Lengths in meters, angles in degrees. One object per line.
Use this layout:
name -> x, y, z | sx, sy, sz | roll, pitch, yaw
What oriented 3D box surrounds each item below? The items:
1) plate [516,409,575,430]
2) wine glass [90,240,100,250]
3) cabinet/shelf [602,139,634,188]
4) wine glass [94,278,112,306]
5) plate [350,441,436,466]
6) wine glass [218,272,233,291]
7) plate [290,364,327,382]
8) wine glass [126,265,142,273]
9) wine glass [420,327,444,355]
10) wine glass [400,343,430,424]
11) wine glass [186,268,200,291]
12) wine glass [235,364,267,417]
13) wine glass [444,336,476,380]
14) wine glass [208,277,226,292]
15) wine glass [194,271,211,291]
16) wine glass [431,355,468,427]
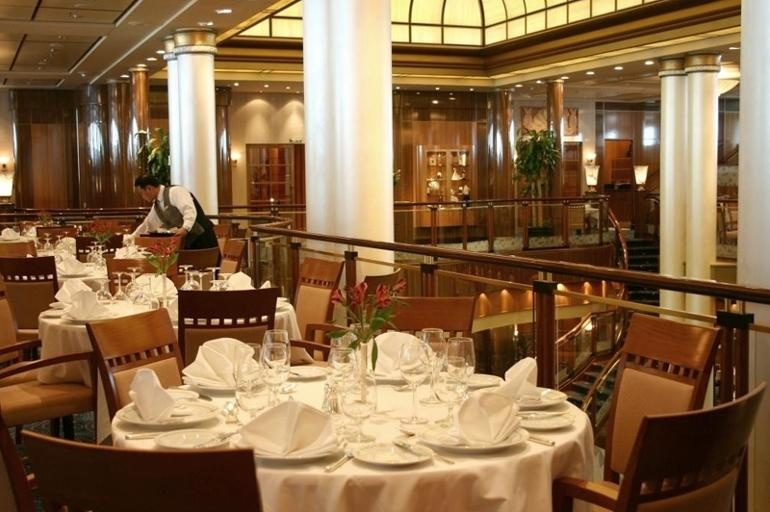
plate -> 0.655, 0.666, 2.469 | 0.254, 0.033, 0.142 | -1, 8, -10
wine glass -> -3.302, -0.105, 6.989 | 0.105, 0.133, 0.103 | 0, -4, -36
cabinet/shelf -> 8.538, -3.400, 22.589 | 1.372, 1.645, 0.586 | -2, 8, -18
wine glass -> -2.255, 0.295, 4.922 | 0.135, 0.230, 0.139 | -3, 4, -33
plate -> 0.018, 0.707, 2.190 | 0.290, 0.037, 0.164 | 4, 9, 21
wine glass -> -1.249, 0.210, 4.757 | 0.133, 0.178, 0.151 | 2, -3, 0
plate -> -0.380, 0.559, 3.002 | 0.173, 0.041, 0.232 | -1, 8, -10
wine glass -> -2.093, 0.120, 5.129 | 0.078, 0.105, 0.084 | 0, -4, -4
wine glass -> 0.199, 0.350, 2.520 | 0.071, 0.082, 0.078 | -1, 4, 2
wine glass -> 0.126, 0.500, 2.611 | 0.120, 0.295, 0.401 | 1, 8, 4
wine glass -> -1.419, 0.187, 4.532 | 0.094, 0.161, 0.100 | 3, 20, 12
wine glass -> -0.502, 0.504, 2.341 | 0.115, 0.239, 0.070 | -4, 8, -29
wine glass -> 0.310, 0.403, 2.447 | 0.124, 0.211, 0.136 | -1, -1, 12
wine glass -> -1.259, 0.231, 4.660 | 0.098, 0.110, 0.102 | 1, -5, -27
wine glass -> -1.477, 0.214, 4.967 | 0.153, 0.199, 0.165 | 0, -4, -8
wine glass -> 0.246, 0.524, 2.432 | 0.130, 0.305, 0.181 | -2, 8, -14
